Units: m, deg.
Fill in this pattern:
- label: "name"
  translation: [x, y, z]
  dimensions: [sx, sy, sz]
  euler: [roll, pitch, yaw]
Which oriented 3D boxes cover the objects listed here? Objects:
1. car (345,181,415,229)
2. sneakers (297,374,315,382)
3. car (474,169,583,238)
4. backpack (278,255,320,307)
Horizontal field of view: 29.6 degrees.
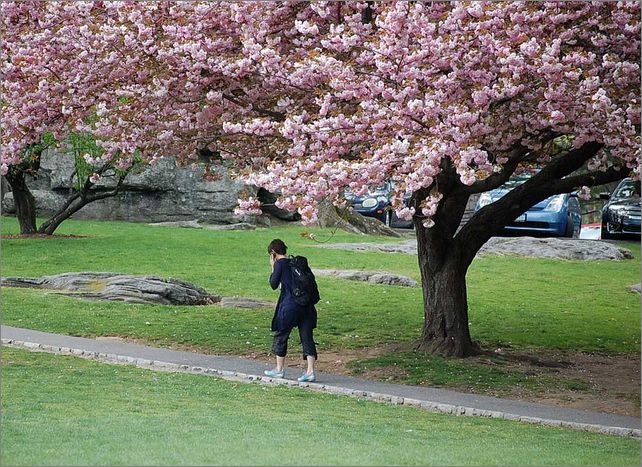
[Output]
- label: "car"
  translation: [2.679, -1.269, 52.583]
  dimensions: [1.845, 1.221, 3.085]
  euler: [2, -1, 44]
- label: "sneakers"
  translation: [-0.289, 2.799, 23.694]
  dimensions: [0.323, 0.157, 0.308]
  euler: [0, 4, -3]
- label: "car"
  translation: [8.078, -1.003, 42.760]
  dimensions: [2.408, 1.493, 4.504]
  euler: [-3, -6, 31]
- label: "backpack"
  translation: [-0.361, 0.924, 23.633]
  dimensions: [0.602, 0.999, 0.339]
  euler: [-1, 5, -1]
